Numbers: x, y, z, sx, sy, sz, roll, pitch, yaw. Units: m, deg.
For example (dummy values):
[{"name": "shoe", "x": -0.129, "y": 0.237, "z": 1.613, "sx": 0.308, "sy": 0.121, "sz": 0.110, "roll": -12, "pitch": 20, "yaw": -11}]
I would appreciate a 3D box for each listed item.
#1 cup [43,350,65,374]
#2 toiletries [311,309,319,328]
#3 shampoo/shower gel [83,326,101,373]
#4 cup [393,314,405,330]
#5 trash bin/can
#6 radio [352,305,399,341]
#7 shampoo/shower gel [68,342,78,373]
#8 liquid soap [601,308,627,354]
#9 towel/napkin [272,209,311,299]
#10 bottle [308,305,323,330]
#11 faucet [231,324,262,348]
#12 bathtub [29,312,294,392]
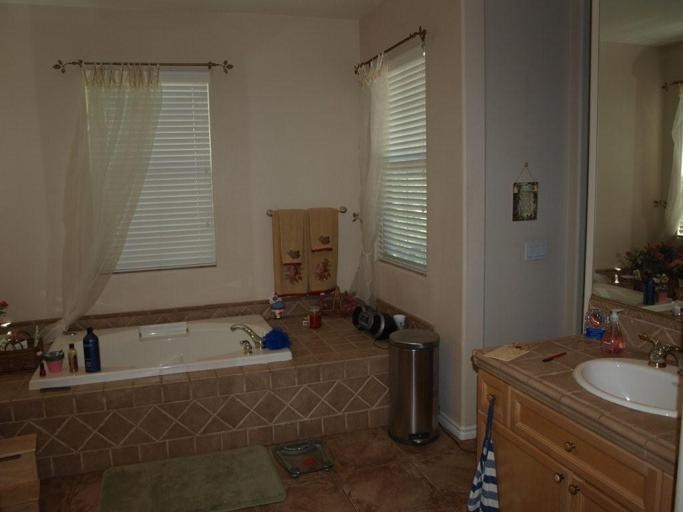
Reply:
[{"name": "cup", "x": -1.924, "y": 0.700, "z": 3.655, "sx": 0.125, "sy": 0.151, "sz": 0.138, "roll": 0, "pitch": -6, "yaw": -16}, {"name": "toiletries", "x": -0.218, "y": 0.535, "z": 4.684, "sx": 0.094, "sy": 0.146, "sz": 0.073, "roll": -2, "pitch": 8, "yaw": -4}, {"name": "shampoo/shower gel", "x": -1.707, "y": 0.615, "z": 3.712, "sx": 0.099, "sy": 0.307, "sz": 0.177, "roll": -5, "pitch": 9, "yaw": -27}, {"name": "cup", "x": 0.463, "y": 0.521, "z": 4.334, "sx": 0.078, "sy": 0.111, "sz": 0.103, "roll": 3, "pitch": -5, "yaw": 40}, {"name": "trash bin/can", "x": 0.540, "y": 0.953, "z": 3.967, "sx": 0.380, "sy": 0.720, "sz": 0.397, "roll": -2, "pitch": 2, "yaw": -41}, {"name": "radio", "x": 0.264, "y": 0.528, "z": 4.463, "sx": 0.204, "sy": 0.201, "sz": 0.509, "roll": -5, "pitch": 10, "yaw": -25}, {"name": "shampoo/shower gel", "x": -1.822, "y": 0.671, "z": 3.683, "sx": 0.050, "sy": 0.200, "sz": 0.111, "roll": -5, "pitch": 9, "yaw": -27}, {"name": "liquid soap", "x": 1.482, "y": 0.401, "z": 2.944, "sx": 0.110, "sy": 0.215, "sz": 0.092, "roll": -3, "pitch": 9, "yaw": -15}, {"name": "towel/napkin", "x": -0.452, "y": -0.025, "z": 4.920, "sx": 0.311, "sy": 0.764, "sz": 0.090, "roll": -2, "pitch": 8, "yaw": -6}, {"name": "bottle", "x": -0.220, "y": 0.531, "z": 4.812, "sx": 0.134, "sy": 0.277, "sz": 0.166, "roll": -1, "pitch": 7, "yaw": -3}, {"name": "faucet", "x": -0.756, "y": 0.633, "z": 4.310, "sx": 0.106, "sy": 0.144, "sz": 0.400, "roll": -6, "pitch": 19, "yaw": -40}, {"name": "bathtub", "x": -1.343, "y": 0.720, "z": 4.167, "sx": 1.689, "sy": 0.378, "sz": 0.998, "roll": -3, "pitch": 9, "yaw": -14}]
